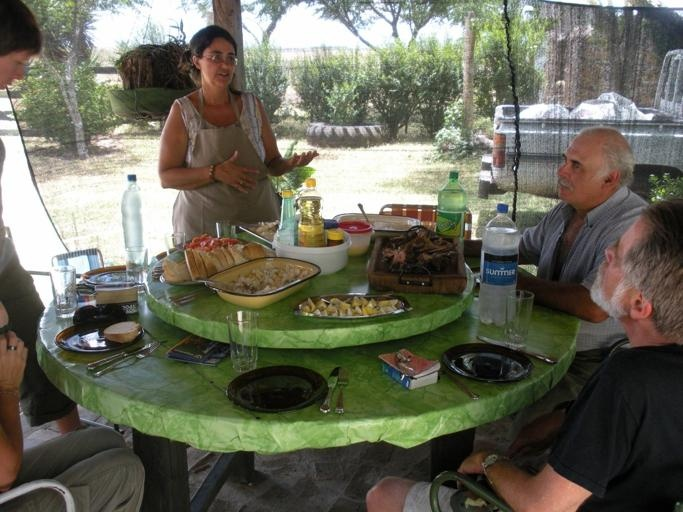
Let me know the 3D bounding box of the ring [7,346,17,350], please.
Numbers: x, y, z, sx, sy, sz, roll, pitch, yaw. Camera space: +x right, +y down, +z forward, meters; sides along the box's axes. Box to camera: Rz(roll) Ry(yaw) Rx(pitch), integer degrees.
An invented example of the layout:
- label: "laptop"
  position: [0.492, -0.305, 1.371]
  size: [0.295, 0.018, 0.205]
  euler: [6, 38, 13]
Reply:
- label: "ring"
  position: [-1.206, 0.335, 1.867]
  size: [0.017, 0.004, 0.015]
  euler: [4, 9, 1]

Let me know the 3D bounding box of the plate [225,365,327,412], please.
- label: "plate"
  position: [-0.221, 0.461, 1.790]
  size: [0.344, 0.062, 0.242]
  euler: [-10, 17, -19]

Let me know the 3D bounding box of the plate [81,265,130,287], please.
- label: "plate"
  position: [-1.225, 0.105, 2.624]
  size: [0.189, 0.035, 0.177]
  euler: [1, 9, -1]

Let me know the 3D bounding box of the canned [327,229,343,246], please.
- label: "canned"
  position: [-0.031, -0.092, 2.538]
  size: [0.087, 0.074, 0.080]
  euler: [0, 15, -3]

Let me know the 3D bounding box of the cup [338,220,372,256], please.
- label: "cup"
  position: [0.080, -0.114, 2.774]
  size: [0.218, 0.144, 0.183]
  euler: [0, 15, 0]

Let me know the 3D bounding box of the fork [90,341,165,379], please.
- label: "fork"
  position: [-0.825, 0.393, 1.975]
  size: [0.268, 0.021, 0.068]
  euler: [-19, 37, -40]

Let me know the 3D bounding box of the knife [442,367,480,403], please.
- label: "knife"
  position: [0.426, 0.452, 1.853]
  size: [0.039, 0.021, 0.252]
  euler: [-14, 18, -15]

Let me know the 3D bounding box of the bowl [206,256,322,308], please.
- label: "bowl"
  position: [-0.343, 0.098, 2.238]
  size: [0.261, 0.066, 0.345]
  euler: [15, 26, 36]

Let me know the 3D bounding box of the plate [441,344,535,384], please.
- label: "plate"
  position: [0.556, 0.406, 1.904]
  size: [0.348, 0.062, 0.329]
  euler: [0, 8, -27]

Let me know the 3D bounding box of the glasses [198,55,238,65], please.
- label: "glasses"
  position: [-0.784, -1.283, 3.349]
  size: [0.229, 0.070, 0.065]
  euler: [-15, 19, -33]

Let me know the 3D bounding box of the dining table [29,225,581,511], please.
- label: "dining table"
  position: [-0.288, 0.177, 2.101]
  size: [1.395, 0.598, 1.281]
  euler: [-5, 16, -13]

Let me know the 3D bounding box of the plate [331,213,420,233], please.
- label: "plate"
  position: [0.251, -0.219, 3.277]
  size: [0.361, 0.055, 0.227]
  euler: [0, 18, -7]

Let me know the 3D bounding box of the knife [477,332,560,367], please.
- label: "knife"
  position: [0.690, 0.348, 2.108]
  size: [0.084, 0.040, 0.520]
  euler: [-11, 13, -21]

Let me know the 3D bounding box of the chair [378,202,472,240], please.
- label: "chair"
  position: [0.532, -0.216, 3.221]
  size: [0.441, 0.299, 0.230]
  euler: [1, -6, 2]
